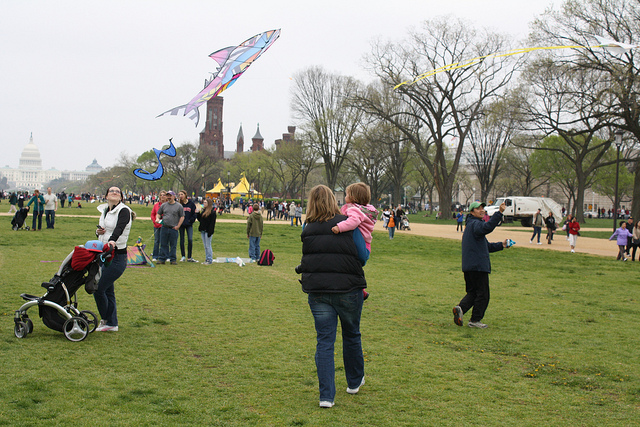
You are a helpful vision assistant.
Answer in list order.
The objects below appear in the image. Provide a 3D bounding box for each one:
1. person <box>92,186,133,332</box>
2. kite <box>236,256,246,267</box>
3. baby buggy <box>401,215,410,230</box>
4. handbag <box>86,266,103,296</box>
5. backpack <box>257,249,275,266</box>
[{"bbox_3d":[-4.100,0.876,12.522,0.793,2.834,0.862,3,-2,9],"label":"person"},{"bbox_3d":[-2.522,1.559,19.954,0.188,0.131,0.278,1,-40,20],"label":"kite"},{"bbox_3d":[5.239,0.701,39.525,0.542,0.758,1.181,2,15,13],"label":"baby buggy"},{"bbox_3d":[-4.367,1.300,12.188,0.284,0.543,0.321,0,8,-15],"label":"handbag"},{"bbox_3d":[-1.769,1.433,20.375,0.422,0.498,0.466,1,-14,4],"label":"backpack"}]
